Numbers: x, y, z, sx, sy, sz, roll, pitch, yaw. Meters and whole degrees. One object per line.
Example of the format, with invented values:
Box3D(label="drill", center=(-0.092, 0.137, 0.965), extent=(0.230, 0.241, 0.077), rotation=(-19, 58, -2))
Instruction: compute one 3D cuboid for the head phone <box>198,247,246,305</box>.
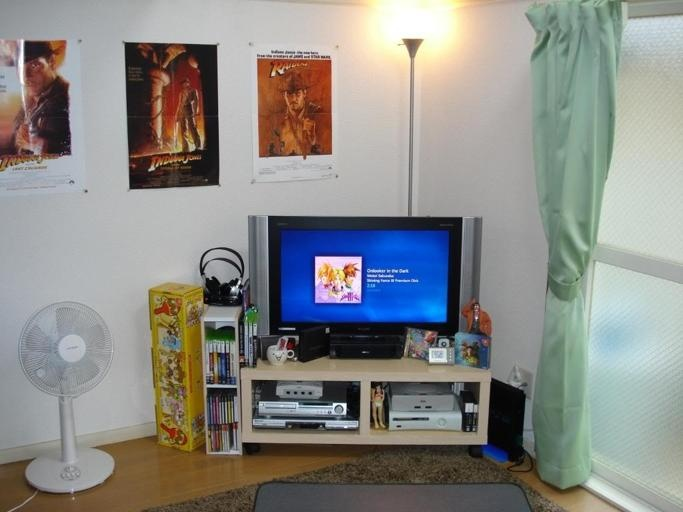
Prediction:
Box3D(label="head phone", center=(-0.755, 0.124, 3.825), extent=(0.262, 0.388, 0.153), rotation=(1, 7, -8))

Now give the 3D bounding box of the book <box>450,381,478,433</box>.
Box3D(label="book", center=(0.752, 0.939, 3.700), extent=(0.097, 0.253, 0.276), rotation=(0, 8, 1))

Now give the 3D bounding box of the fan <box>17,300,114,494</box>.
Box3D(label="fan", center=(-1.581, 0.783, 3.480), extent=(0.544, 1.076, 0.377), rotation=(-6, 7, -20))

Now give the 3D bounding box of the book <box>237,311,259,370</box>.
Box3D(label="book", center=(-0.563, 0.517, 3.627), extent=(0.091, 0.310, 0.299), rotation=(0, 6, -3))

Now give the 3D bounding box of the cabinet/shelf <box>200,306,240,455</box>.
Box3D(label="cabinet/shelf", center=(-0.725, 0.773, 3.732), extent=(0.269, 0.912, 0.222), rotation=(-4, 7, -7))

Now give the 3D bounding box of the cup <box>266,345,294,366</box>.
Box3D(label="cup", center=(-0.377, 0.601, 3.687), extent=(0.153, 0.104, 0.113), rotation=(1, -2, -17))
